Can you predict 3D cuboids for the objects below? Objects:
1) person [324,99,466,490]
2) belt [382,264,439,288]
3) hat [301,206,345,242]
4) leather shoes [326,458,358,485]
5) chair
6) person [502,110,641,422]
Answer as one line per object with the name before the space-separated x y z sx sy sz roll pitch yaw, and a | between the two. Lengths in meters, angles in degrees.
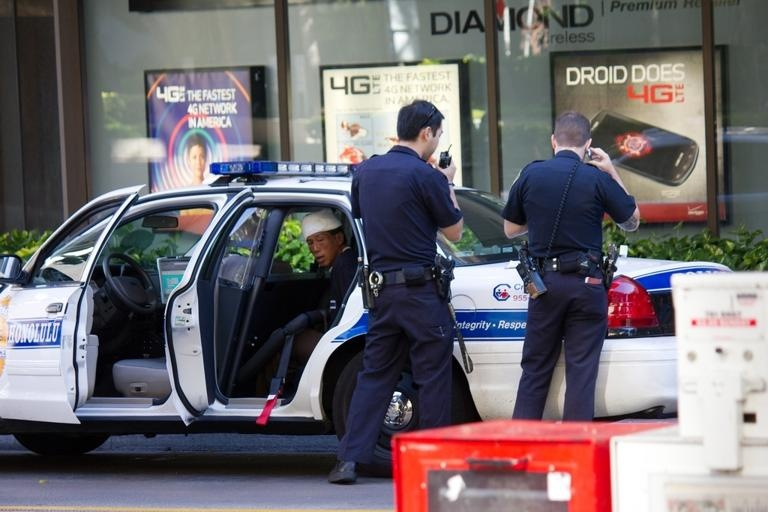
person | 0.163 0.292 8.915 1.093 2.918 0.922 3 4 24
belt | 0.192 0.163 8.588 0.405 0.155 0.075 0 9 2
hat | -0.529 -0.275 9.785 0.319 0.193 0.227 -14 -5 -41
leather shoes | -0.322 1.733 8.854 0.119 0.155 0.328 3 -6 -19
chair | -1.447 0.472 9.932 1.707 2.095 1.230 2 1 15
person | 1.399 0.068 8.475 0.954 2.263 0.859 0 9 5
